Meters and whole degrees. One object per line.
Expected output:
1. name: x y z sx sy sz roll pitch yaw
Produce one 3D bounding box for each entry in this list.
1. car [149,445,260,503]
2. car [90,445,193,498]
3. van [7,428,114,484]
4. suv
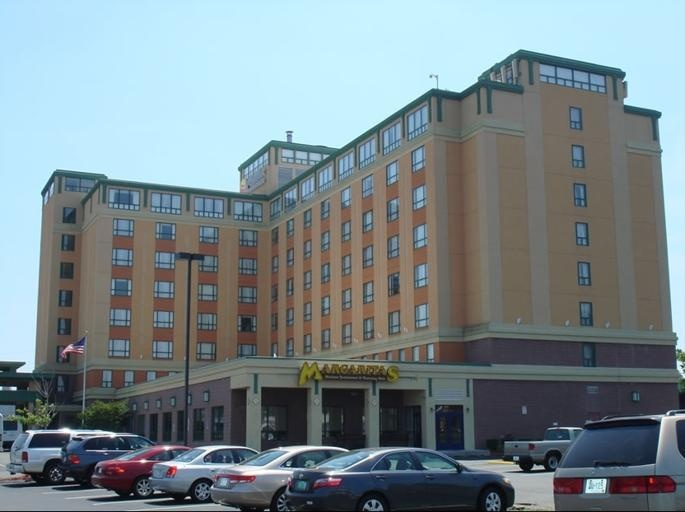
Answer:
1. car: -5.402 8.501 32.364 3.165 2.505 3.075 8 -12 -32
2. car: -8.294 8.612 34.392 2.180 1.922 5.404 -9 -14 39
3. van: -13.203 9.358 40.648 4.548 2.720 4.811 5 -13 -27
4. suv: -10.612 9.339 38.083 3.675 2.710 3.269 9 -12 -33
